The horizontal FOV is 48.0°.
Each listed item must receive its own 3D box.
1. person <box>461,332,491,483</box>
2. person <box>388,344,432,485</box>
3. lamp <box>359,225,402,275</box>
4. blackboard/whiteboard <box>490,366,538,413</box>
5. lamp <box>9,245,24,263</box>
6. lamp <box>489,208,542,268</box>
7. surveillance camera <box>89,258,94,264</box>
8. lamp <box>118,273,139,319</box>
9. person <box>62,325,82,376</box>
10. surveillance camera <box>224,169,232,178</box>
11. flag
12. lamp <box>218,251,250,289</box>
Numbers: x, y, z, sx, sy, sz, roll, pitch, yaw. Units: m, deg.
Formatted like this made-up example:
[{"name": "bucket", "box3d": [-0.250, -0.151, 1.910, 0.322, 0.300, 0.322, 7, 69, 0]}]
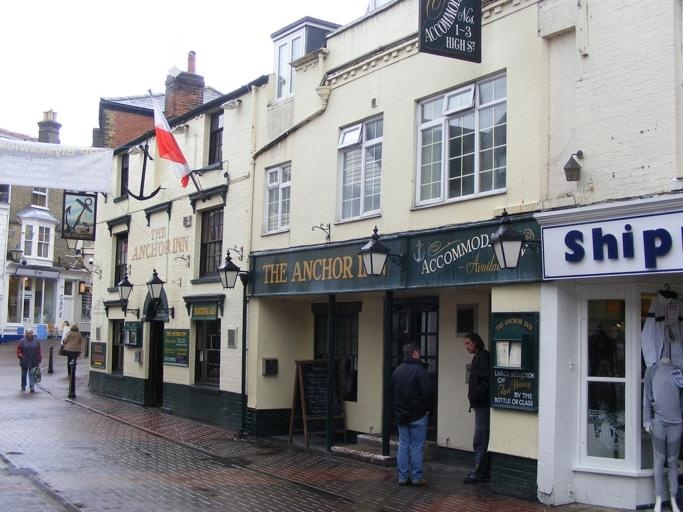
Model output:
[{"name": "person", "box3d": [2.328, 2.502, 12.805, 0.582, 2.464, 0.436, -6, -9, 40]}, {"name": "person", "box3d": [1.193, 2.606, 12.731, 0.631, 2.312, 0.442, -1, -7, 6]}, {"name": "lamp", "box3d": [0.687, -0.104, 13.726, 0.624, 0.915, 0.803, -5, -9, 32]}, {"name": "blackboard/whiteboard", "box3d": [2.826, 2.116, 12.276, 0.506, 0.988, 0.951, 9, -11, -39]}, {"name": "lamp", "box3d": [-20.065, -0.215, 47.352, 0.871, 1.112, 1.575, 3, -9, -23]}, {"name": "lamp", "box3d": [2.547, -0.241, 11.643, 0.801, 1.268, 0.675, 1, -6, 4]}, {"name": "surveillance camera", "box3d": [-14.462, 0.264, 44.556, 0.223, 0.488, 0.449, -1, -5, -12]}, {"name": "lamp", "box3d": [-6.343, 1.176, 22.826, 0.547, 1.385, 1.139, 3, -8, -25]}, {"name": "person", "box3d": [-9.161, 3.178, 26.076, 0.664, 1.691, 0.635, 5, -7, -16]}, {"name": "surveillance camera", "box3d": [-2.790, -2.019, 18.915, 0.203, 0.157, 0.051, -3, -5, 32]}, {"name": "flag", "box3d": [-4.260, -2.832, 18.845, 0.570, 0.382, 2.788, -8, -53, 0]}, {"name": "lamp", "box3d": [-2.344, 0.368, 17.149, 0.732, 1.232, 0.547, 3, -6, -20]}]
